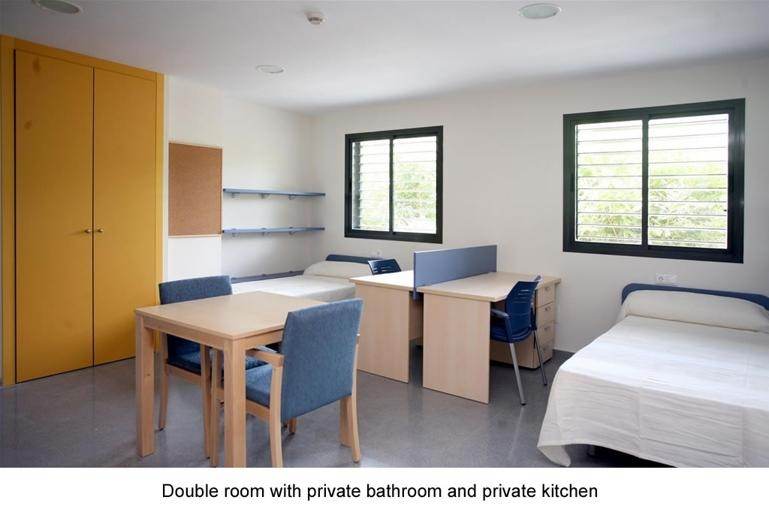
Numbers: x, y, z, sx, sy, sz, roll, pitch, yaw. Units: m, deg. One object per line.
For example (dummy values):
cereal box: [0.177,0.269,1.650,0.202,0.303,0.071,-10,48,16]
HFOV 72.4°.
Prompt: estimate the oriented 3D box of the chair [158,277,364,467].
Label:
chair: [-1.225,0.689,3.787,1.733,1.390,1.024,7,5,40]

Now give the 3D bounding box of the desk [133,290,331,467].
desk: [-1.377,0.790,4.200,1.283,0.853,1.234,-7,2,10]

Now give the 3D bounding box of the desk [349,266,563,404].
desk: [0.570,0.706,5.108,1.343,0.749,1.554,1,3,33]
